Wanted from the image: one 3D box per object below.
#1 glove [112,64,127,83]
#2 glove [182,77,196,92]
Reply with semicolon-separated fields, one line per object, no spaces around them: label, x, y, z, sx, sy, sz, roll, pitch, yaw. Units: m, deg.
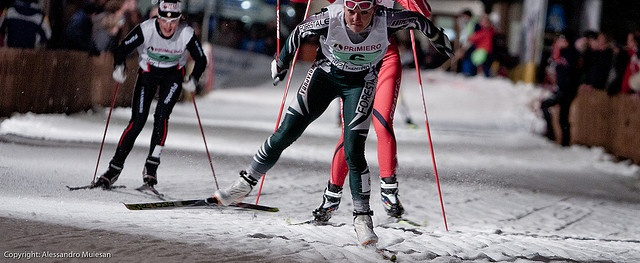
glove;-5.087;-1.469;15.409;0.290;0.454;0.288;6;10;-16
glove;-3.320;-1.184;15.442;0.445;0.383;0.259;15;11;39
